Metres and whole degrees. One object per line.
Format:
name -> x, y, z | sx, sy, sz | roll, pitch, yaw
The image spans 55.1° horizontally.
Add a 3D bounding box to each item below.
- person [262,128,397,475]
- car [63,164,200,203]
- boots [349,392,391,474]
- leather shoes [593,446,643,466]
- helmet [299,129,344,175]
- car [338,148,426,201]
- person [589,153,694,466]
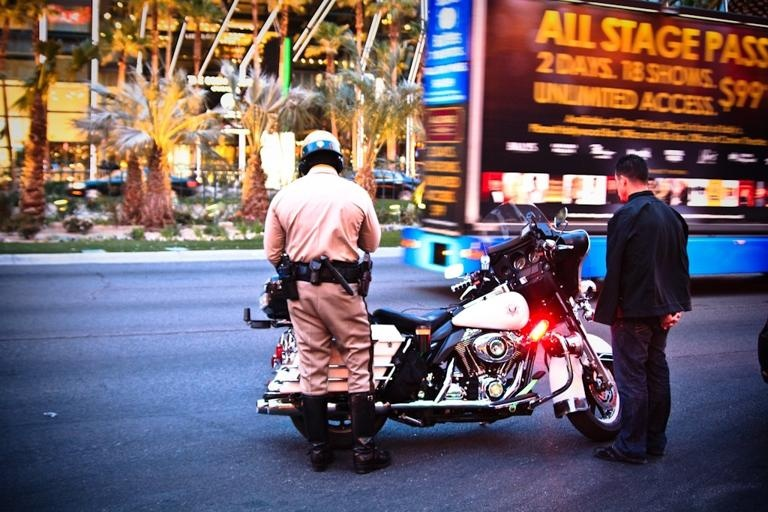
person -> -0.544, 0.443, 7.437 | 1.271, 3.321, 0.889 | 3, 12, 12
car -> -10.738, -3.129, 32.577 | 4.707, 1.459, 2.187 | 1, 5, -3
boots -> -0.118, 1.755, 7.386 | 0.386, 0.795, 0.214 | -6, 13, -28
leather shoes -> 2.420, 2.037, 7.615 | 0.498, 0.217, 0.172 | -1, 0, 24
helmet -> -0.650, -1.079, 7.689 | 0.407, 0.494, 0.541 | -4, -4, -8
car -> -0.201, -3.772, 35.486 | 4.195, 1.447, 1.931 | 2, 8, -2
person -> 2.653, 0.756, 7.610 | 0.933, 2.650, 0.753 | 3, 12, 11
